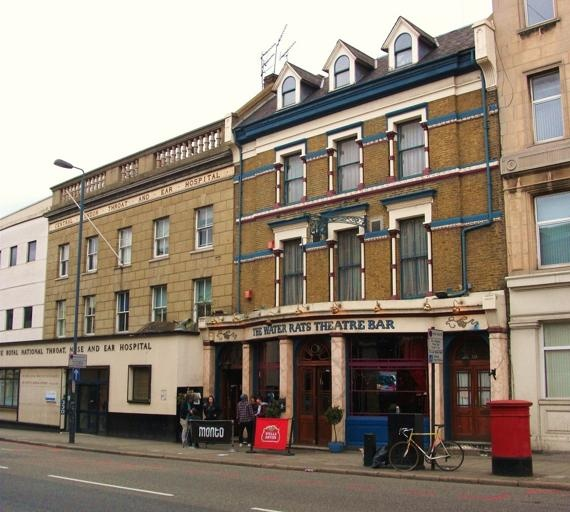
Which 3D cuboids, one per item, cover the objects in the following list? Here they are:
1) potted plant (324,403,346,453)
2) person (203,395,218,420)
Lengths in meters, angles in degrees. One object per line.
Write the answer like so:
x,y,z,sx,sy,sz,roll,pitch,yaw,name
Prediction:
1.583,5.565,26.131,0.560,1.474,1.004,-3,-14,3,potted plant
-2.757,5.546,29.772,0.492,0.932,1.165,-1,-15,-6,person
